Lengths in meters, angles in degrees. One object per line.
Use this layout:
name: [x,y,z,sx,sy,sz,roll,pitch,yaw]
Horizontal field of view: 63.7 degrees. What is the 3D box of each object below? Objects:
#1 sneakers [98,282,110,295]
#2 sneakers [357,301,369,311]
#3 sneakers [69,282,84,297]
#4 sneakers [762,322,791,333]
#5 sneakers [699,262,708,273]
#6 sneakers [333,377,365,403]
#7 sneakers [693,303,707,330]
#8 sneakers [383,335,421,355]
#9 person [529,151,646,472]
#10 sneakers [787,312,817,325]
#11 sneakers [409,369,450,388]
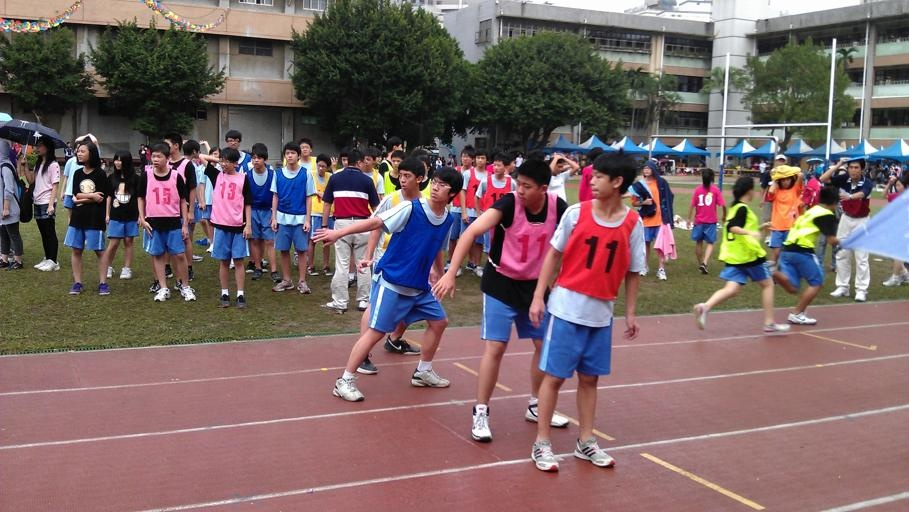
sneakers: [-6.182,0.584,12.885,0.146,0.132,0.321,0,0,-24]
sneakers: [-1.566,0.841,12.540,0.194,0.203,0.507,1,-7,-1]
sneakers: [-6.637,0.561,12.848,0.147,0.130,0.325,2,4,-15]
sneakers: [5.467,1.199,12.433,0.461,0.174,0.158,0,14,-1]
sneakers: [5.521,0.287,16.186,0.126,0.122,0.304,12,-9,28]
sneakers: [-1.375,1.786,9.877,0.591,0.263,0.212,8,10,39]
sneakers: [4.046,0.963,12.094,0.235,0.487,0.194,-14,17,-24]
sneakers: [-0.782,1.354,11.155,0.559,0.230,0.235,2,4,1]
person: [1.594,0.652,8.774,1.340,3.790,0.630,0,8,-1]
sneakers: [6.055,1.082,12.850,0.555,0.225,0.185,3,9,-4]
sneakers: [-0.362,1.699,10.221,0.656,0.260,0.215,2,7,-6]
